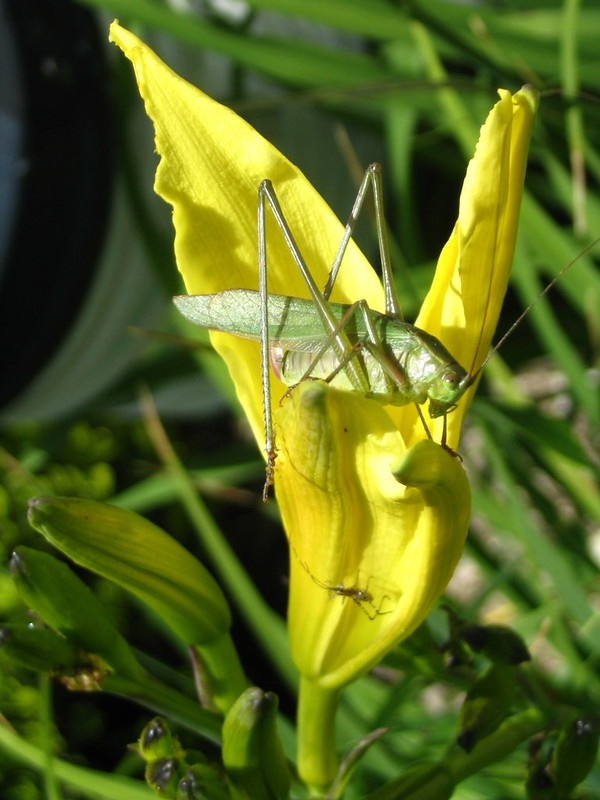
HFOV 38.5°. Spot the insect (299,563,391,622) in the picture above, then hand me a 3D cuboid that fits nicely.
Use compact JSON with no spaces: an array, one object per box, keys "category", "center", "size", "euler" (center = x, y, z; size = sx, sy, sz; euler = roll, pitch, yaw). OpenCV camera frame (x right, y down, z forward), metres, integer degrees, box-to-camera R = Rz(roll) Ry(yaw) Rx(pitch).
[{"category":"insect","center":[0.029,0.120,0.537],"size":[0.048,0.029,0.019],"euler":[4,54,23]}]

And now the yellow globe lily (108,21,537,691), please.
[{"category":"yellow globe lily","center":[0.053,-0.053,0.610],"size":[0.250,0.354,0.359],"euler":[-14,37,-20]}]
